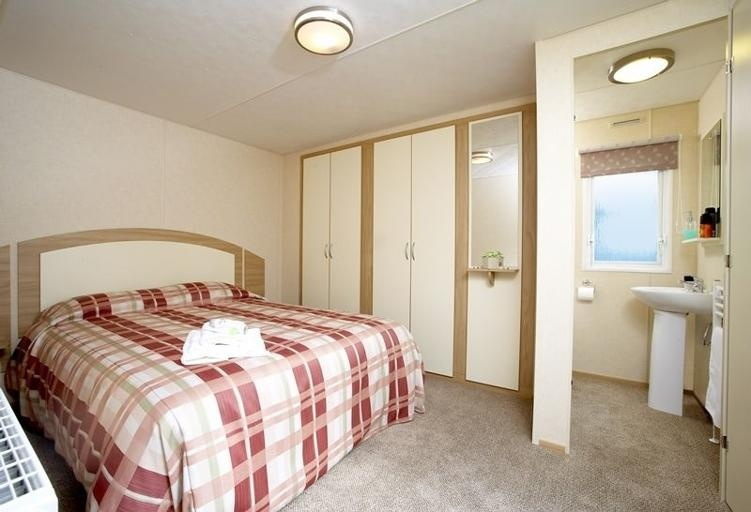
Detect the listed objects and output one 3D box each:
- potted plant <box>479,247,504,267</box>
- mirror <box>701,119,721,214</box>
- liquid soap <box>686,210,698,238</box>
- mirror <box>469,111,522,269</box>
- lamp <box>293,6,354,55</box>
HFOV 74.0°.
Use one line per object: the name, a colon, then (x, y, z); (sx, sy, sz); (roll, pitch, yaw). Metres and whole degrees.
potted plant: (1.119, 0.022, 4.803); (0.170, 0.162, 0.169); (-1, 2, -44)
mirror: (2.531, -0.670, 3.763); (0.063, 0.628, 0.225); (-2, 3, 2)
liquid soap: (2.478, -0.243, 3.921); (0.037, 0.225, 0.131); (-2, 3, -3)
mirror: (1.163, -0.623, 4.821); (0.486, 1.430, 0.225); (-1, 3, 16)
lamp: (-0.400, -1.731, 3.852); (0.466, 0.248, 0.285); (-2, 3, -6)
